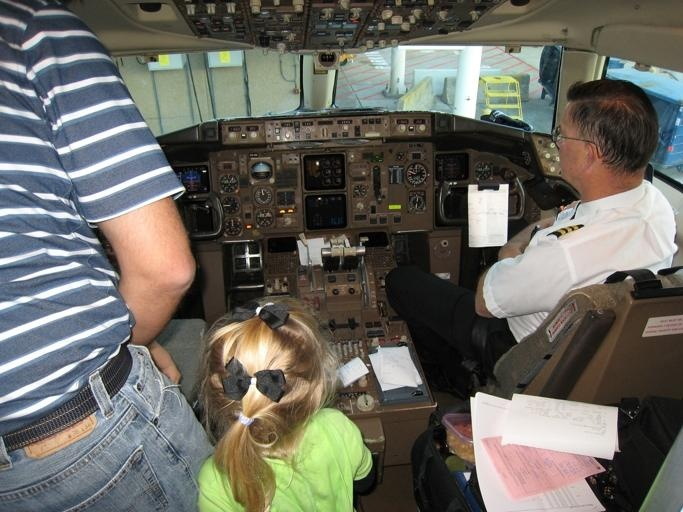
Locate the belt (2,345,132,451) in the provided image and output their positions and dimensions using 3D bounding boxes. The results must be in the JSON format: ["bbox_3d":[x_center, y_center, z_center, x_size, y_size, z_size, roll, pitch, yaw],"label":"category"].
[{"bbox_3d":[-0.776,0.371,1.352,0.261,0.059,0.239,-31,-5,-1],"label":"belt"}]
